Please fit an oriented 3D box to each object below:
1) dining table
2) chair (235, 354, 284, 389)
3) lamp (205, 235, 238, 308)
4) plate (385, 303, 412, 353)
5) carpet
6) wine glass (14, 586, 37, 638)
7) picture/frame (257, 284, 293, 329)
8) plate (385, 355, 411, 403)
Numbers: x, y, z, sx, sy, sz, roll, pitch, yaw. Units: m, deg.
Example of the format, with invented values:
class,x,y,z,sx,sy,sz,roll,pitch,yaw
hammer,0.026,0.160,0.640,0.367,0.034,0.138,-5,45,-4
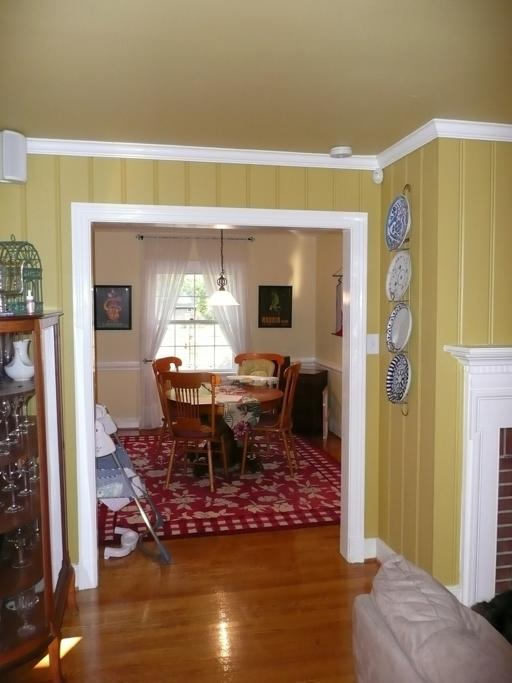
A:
class,x,y,z,sx,sy,sz,roll,pitch,yaw
dining table,-0.155,0.696,4.725,0.739,0.499,0.727,0,0,1
chair,0.031,0.309,6.050,0.414,0.500,0.362,0,-1,3
lamp,-0.346,-0.822,6.109,0.331,0.883,1.098,0,4,-3
plate,0.756,-0.071,2.915,0.052,0.334,0.262,1,-4,-17
carpet,-0.174,1.094,4.670,1.806,0.222,2.137,-1,4,-12
wine glass,-0.866,1.035,2.089,0.078,0.154,0.076,-2,5,-23
picture/frame,0.207,-0.454,6.865,0.559,0.675,0.048,-1,11,-13
plate,0.750,0.197,2.909,0.065,0.265,0.177,-2,5,-24
